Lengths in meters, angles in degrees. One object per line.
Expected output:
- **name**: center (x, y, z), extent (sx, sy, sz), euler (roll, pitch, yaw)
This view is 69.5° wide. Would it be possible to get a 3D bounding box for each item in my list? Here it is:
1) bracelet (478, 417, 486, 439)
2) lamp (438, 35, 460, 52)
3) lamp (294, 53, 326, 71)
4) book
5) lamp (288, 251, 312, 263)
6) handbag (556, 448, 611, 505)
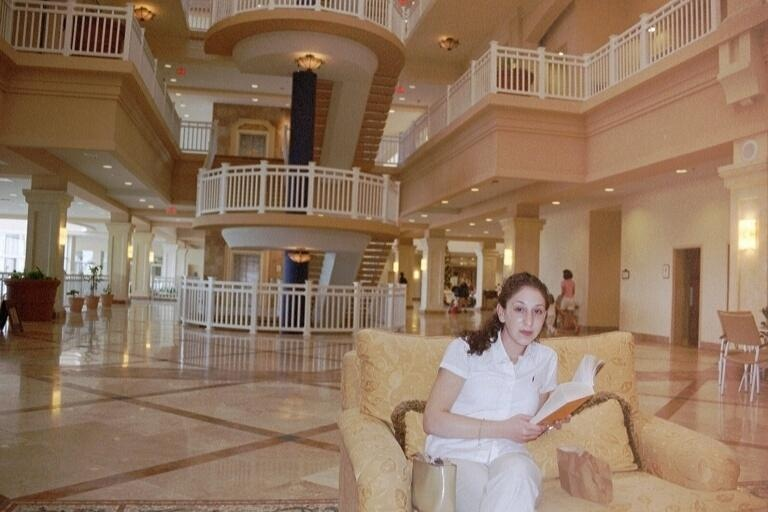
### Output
- **bracelet**: center (0.715, 1.240, 3.989), extent (0.087, 0.121, 0.029), euler (2, -6, 15)
- **lamp**: center (2.023, -6.795, 17.809), extent (0.454, 0.199, 0.442), euler (2, -11, -20)
- **lamp**: center (-1.698, -4.342, 12.581), extent (0.600, 0.200, 0.789), euler (7, -7, -25)
- **book**: center (1.294, 0.989, 4.086), extent (0.447, 0.563, 0.211), euler (19, 30, -19)
- **lamp**: center (-2.053, 0.017, 13.350), extent (0.506, 0.257, 0.481), euler (5, -7, -11)
- **handbag**: center (1.447, 1.623, 4.049), extent (0.182, 0.250, 0.320), euler (-14, 15, -32)
